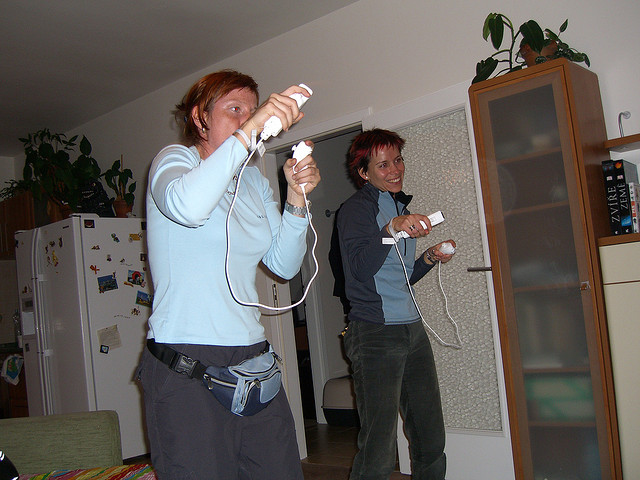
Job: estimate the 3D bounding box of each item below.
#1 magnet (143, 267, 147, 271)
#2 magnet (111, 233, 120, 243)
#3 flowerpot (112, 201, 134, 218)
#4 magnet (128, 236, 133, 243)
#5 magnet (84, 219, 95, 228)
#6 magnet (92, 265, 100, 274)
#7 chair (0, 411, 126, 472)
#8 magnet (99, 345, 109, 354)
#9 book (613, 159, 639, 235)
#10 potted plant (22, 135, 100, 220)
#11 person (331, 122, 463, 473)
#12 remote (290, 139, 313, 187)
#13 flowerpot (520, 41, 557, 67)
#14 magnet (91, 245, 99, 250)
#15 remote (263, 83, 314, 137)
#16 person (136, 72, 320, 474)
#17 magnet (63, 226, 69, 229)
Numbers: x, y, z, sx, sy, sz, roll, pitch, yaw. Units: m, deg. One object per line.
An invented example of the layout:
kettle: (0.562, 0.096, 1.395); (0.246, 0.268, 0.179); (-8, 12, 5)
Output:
magnet: (-1.507, 0.253, 4.009); (0.034, 0.034, 0.010); (0, 2, -31)
magnet: (-1.697, -0.017, 3.866); (0.038, 0.066, 0.016); (-35, 11, -28)
flowerpot: (-1.805, -0.280, 4.254); (0.154, 0.126, 0.156); (0, -3, -1)
magnet: (-1.603, -0.001, 3.960); (0.028, 0.028, 0.028); (-19, -29, -32)
magnet: (-1.860, -0.128, 3.755); (0.066, 0.064, 0.016); (0, -5, -38)
magnet: (-1.797, 0.243, 3.738); (0.070, 0.071, 0.013); (4, -1, -18)
chair: (-1.069, 0.821, 1.978); (0.391, 0.222, 0.276); (0, 4, -8)
magnet: (-1.709, 0.876, 3.698); (0.058, 0.060, 0.057); (-2, 7, -40)
book: (1.524, -0.198, 2.328); (0.092, 0.281, 0.257); (-11, -48, 30)
potted plant: (-2.484, -0.569, 4.517); (0.683, 0.776, 0.771); (-5, 1, -29)
person: (0.304, 0.254, 2.146); (0.434, 1.640, 0.453); (-8, -7, 9)
remote: (-0.054, -0.243, 1.424); (0.076, 0.121, 0.028); (-3, 5, -10)
flowerpot: (1.162, -0.990, 2.467); (0.150, 0.154, 0.134); (1, -2, 19)
magnet: (-1.814, 0.064, 3.759); (0.049, 0.025, 0.030); (-3, 0, -12)
remote: (-0.069, -0.372, 1.296); (0.067, 0.233, 0.054); (31, -24, 7)
person: (-0.236, 0.088, 1.299); (0.551, 1.156, 0.397); (-5, -7, -18)
magnet: (-2.051, -0.101, 3.769); (0.050, 0.012, 0.012); (-26, 11, 3)
